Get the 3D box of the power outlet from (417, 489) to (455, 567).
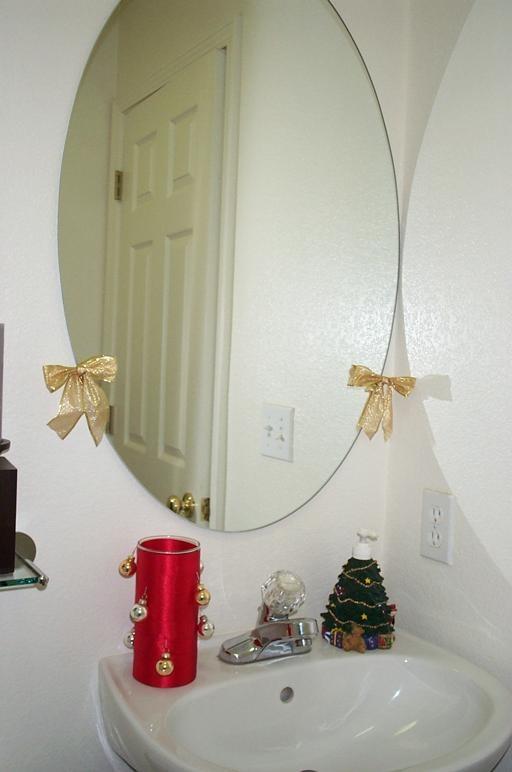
[{"bbox_3d":[0.336,0.263,1.094,0.018,0.132,0.084,4,-2,-20],"label":"power outlet"}]
